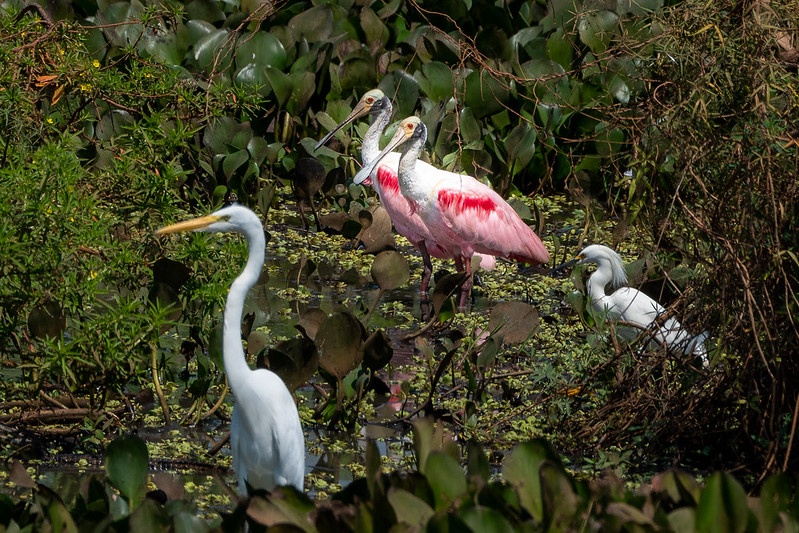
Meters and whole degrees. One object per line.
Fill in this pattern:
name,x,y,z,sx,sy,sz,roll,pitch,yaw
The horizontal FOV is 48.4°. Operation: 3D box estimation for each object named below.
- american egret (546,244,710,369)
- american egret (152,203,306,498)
american egret,1.782,0.261,6.880,1.290,0.773,0.373,7,15,-20
american egret,-0.823,0.479,4.821,0.454,1.522,0.596,-13,26,-13
